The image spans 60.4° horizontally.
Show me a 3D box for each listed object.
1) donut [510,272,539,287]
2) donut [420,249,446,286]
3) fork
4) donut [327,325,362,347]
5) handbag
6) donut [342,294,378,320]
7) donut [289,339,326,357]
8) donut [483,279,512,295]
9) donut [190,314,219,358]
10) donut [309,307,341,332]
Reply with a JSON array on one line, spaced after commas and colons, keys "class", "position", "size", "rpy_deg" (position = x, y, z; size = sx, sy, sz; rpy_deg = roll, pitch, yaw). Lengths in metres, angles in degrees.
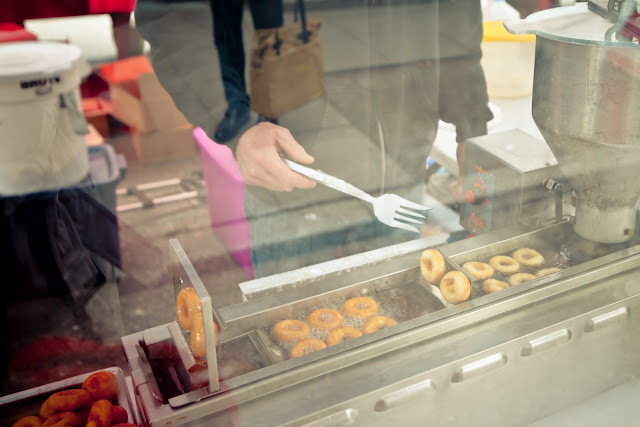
[{"class": "donut", "position": [0.471, 0.153, 1.298], "size": [0.035, 0.012, 0.034], "rpy_deg": [-23, 14, -29]}, {"class": "donut", "position": [0.257, 0.122, 1.276], "size": [0.023, 0.068, 0.068], "rpy_deg": [8, 25, -27]}, {"class": "fork", "position": [0.090, -0.044, 1.476], "size": [0.438, 0.074, 0.047], "rpy_deg": [23, -14, -15]}, {"class": "donut", "position": [0.047, 0.261, 1.176], "size": [0.081, 0.011, 0.042], "rpy_deg": [-20, 29, -18]}, {"class": "handbag", "position": [-0.085, -0.356, 1.320], "size": [0.141, 0.196, 0.069], "rpy_deg": [-29, 55, -22]}, {"class": "donut", "position": [0.089, 0.211, 1.226], "size": [0.082, 0.022, 0.056], "rpy_deg": [-13, 28, -5]}, {"class": "donut", "position": [-0.027, 0.282, 1.154], "size": [0.082, 0.012, 0.045], "rpy_deg": [-12, 28, -4]}, {"class": "donut", "position": [0.406, 0.170, 1.274], "size": [0.065, 0.016, 0.049], "rpy_deg": [-8, 28, 4]}, {"class": "donut", "position": [-0.233, 0.236, 1.052], "size": [0.031, 0.086, 0.064], "rpy_deg": [-5, 10, 26]}, {"class": "donut", "position": [0.011, 0.233, 1.205], "size": [0.077, 0.023, 0.053], "rpy_deg": [-15, 28, -8]}]
